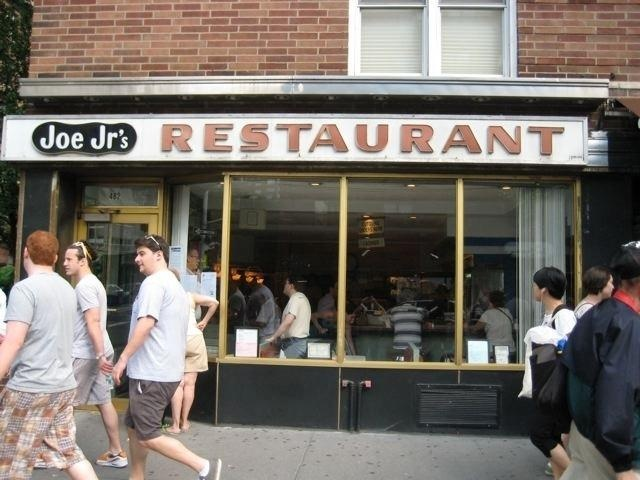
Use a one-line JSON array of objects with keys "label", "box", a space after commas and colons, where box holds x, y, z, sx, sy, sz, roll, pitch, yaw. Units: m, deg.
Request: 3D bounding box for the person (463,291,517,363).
[{"label": "person", "box": [2.300, 1.284, 9.098, 0.501, 1.316, 0.385, -12, 12, -22]}]

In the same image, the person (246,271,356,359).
[{"label": "person", "box": [-0.261, 0.983, 8.876, 0.955, 0.961, 0.323, 1, 7, -4]}]

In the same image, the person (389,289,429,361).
[{"label": "person", "box": [1.125, 1.272, 8.951, 0.386, 1.149, 0.358, -1, -27, 19]}]

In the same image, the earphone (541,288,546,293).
[{"label": "earphone", "box": [2.234, 0.501, 6.922, 0.043, 0.044, 0.011, 30, 38, 24]}]

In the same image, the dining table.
[{"label": "dining table", "box": [1.051, 1.253, 8.821, 1.332, 0.479, 0.225, 2, 7, 3]}]

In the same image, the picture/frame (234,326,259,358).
[{"label": "picture/frame", "box": [-0.929, 1.307, 8.888, 0.408, 0.456, 0.036, 1, -23, -3]}]

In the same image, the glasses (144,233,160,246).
[{"label": "glasses", "box": [-1.644, -0.001, 6.992, 0.127, 0.124, 0.039, 7, 8, 18]}]

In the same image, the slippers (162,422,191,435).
[{"label": "slippers", "box": [-1.756, 2.268, 8.479, 0.320, 0.114, 0.118, -5, -10, 41]}]

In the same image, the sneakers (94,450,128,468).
[{"label": "sneakers", "box": [-2.189, 2.318, 7.436, 0.352, 0.154, 0.145, 4, -14, 5]}]

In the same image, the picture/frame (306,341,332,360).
[{"label": "picture/frame", "box": [0.008, 1.381, 8.799, 0.317, 0.205, 0.071, 2, -16, 8]}]
